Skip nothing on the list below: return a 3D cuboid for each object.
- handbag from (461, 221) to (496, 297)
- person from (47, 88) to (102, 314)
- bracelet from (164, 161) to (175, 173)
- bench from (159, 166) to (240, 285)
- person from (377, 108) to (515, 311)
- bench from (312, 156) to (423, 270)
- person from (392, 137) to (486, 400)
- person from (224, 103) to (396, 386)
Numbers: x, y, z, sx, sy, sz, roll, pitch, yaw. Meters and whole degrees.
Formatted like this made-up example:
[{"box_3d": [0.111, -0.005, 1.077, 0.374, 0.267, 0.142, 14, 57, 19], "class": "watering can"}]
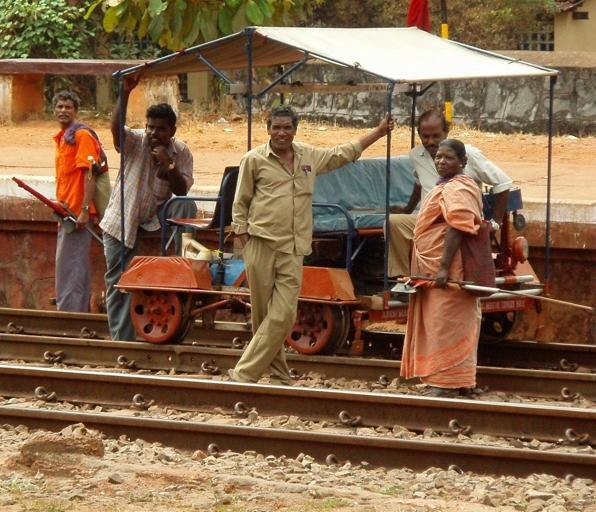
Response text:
[{"box_3d": [1.557, -0.026, 9.980, 0.306, 0.536, 0.224, -1, 5, -17], "class": "handbag"}, {"box_3d": [-2.286, -0.564, 12.313, 0.493, 2.340, 0.490, -1, 5, -12], "class": "person"}, {"box_3d": [-1.221, -0.884, 11.431, 0.063, 0.108, 0.104, 18, -14, -11], "class": "bracelet"}, {"box_3d": [-1.037, -0.342, 11.538, 0.815, 1.036, 0.760, 4, 9, 13], "class": "bench"}, {"box_3d": [1.496, -0.577, 11.326, 1.159, 1.589, 0.926, 4, 7, 16], "class": "person"}, {"box_3d": [0.880, -0.474, 12.290, 0.793, 0.905, 2.197, 8, 13, 30], "class": "bench"}, {"box_3d": [1.256, 0.088, 10.113, 0.653, 2.212, 0.389, 4, 6, 34], "class": "person"}, {"box_3d": [-0.049, -0.089, 10.230, 1.043, 2.452, 0.589, 0, 5, -6], "class": "person"}]
